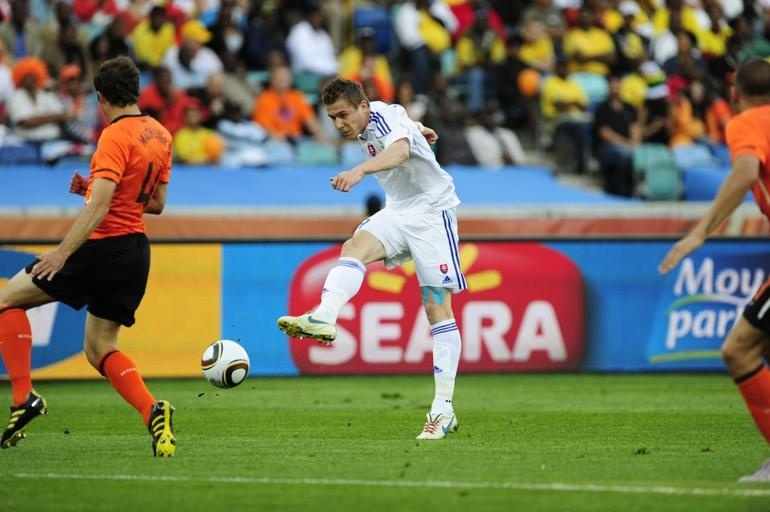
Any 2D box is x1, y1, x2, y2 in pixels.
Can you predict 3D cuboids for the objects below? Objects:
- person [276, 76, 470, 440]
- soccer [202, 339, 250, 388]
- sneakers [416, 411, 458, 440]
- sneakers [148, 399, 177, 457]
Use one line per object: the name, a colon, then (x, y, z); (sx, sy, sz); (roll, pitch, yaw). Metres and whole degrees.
person: (0.051, 0.006, 9.434); (1.426, 2.910, 0.935); (-4, 11, -19)
soccer: (-1.253, 0.860, 9.045); (0.345, 0.367, 0.208); (-2, 10, -10)
sneakers: (0.420, 1.400, 9.378); (0.148, 0.165, 0.412); (-9, -2, 44)
sneakers: (-1.670, 1.319, 8.782); (0.174, 0.463, 0.215); (-5, 1, -29)
